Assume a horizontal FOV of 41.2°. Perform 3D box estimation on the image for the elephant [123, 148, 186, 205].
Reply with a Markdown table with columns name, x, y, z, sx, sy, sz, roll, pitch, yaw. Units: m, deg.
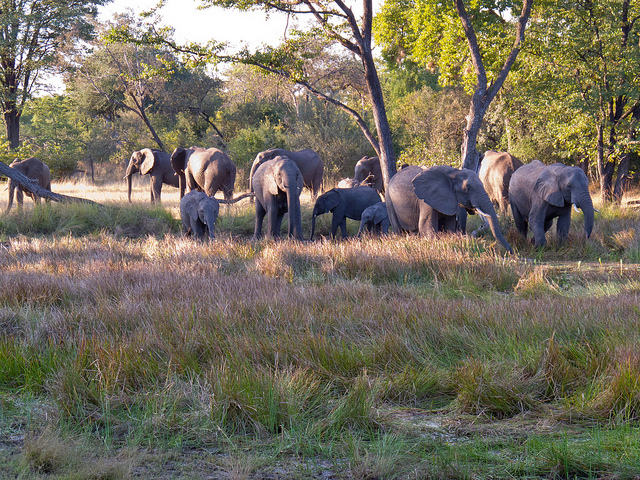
| name | x | y | z | sx | sy | sz | roll | pitch | yaw |
| --- | --- | --- | --- | --- | --- | --- | --- | --- | --- |
| elephant | -5.545 | -2.218 | 28.682 | 2.388 | 1.908 | 1.525 | 2 | 1 | 7 |

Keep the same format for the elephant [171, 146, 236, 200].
| name | x | y | z | sx | sy | sz | roll | pitch | yaw |
| --- | --- | --- | --- | --- | --- | --- | --- | --- | --- |
| elephant | -3.619 | -1.820 | 25.516 | 2.640 | 1.942 | 1.296 | 6 | 6 | 39 |

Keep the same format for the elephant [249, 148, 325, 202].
| name | x | y | z | sx | sy | sz | roll | pitch | yaw |
| --- | --- | --- | --- | --- | --- | --- | --- | --- | --- |
| elephant | -0.924 | -1.782 | 25.203 | 1.111 | 1.802 | 2.767 | 14 | 25 | 40 |

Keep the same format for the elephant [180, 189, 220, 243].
| name | x | y | z | sx | sy | sz | roll | pitch | yaw |
| --- | --- | --- | --- | --- | --- | --- | --- | --- | --- |
| elephant | -2.955 | -0.483 | 20.605 | 0.624 | 1.199 | 1.893 | -3 | 6 | -29 |

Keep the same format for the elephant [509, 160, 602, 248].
| name | x | y | z | sx | sy | sz | roll | pitch | yaw |
| --- | --- | --- | --- | --- | --- | --- | --- | --- | --- |
| elephant | 5.417 | -0.777 | 19.976 | 1.129 | 2.240 | 2.721 | -4 | 4 | -25 |

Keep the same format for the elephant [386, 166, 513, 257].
| name | x | y | z | sx | sy | sz | roll | pitch | yaw |
| --- | --- | --- | --- | --- | --- | --- | --- | --- | --- |
| elephant | 2.971 | -0.898 | 19.625 | 2.927 | 1.874 | 1.383 | 4 | 14 | 41 |

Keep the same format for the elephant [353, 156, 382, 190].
| name | x | y | z | sx | sy | sz | roll | pitch | yaw |
| --- | --- | --- | --- | --- | --- | --- | --- | --- | --- |
| elephant | 1.635 | -2.196 | 28.061 | 1.072 | 1.047 | 0.802 | 1 | 4 | -11 |

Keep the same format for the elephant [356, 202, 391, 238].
| name | x | y | z | sx | sy | sz | roll | pitch | yaw |
| --- | --- | --- | --- | --- | --- | --- | --- | --- | --- |
| elephant | 1.426 | -0.541 | 21.877 | 0.959 | 0.755 | 0.531 | -2 | 1 | -25 |
